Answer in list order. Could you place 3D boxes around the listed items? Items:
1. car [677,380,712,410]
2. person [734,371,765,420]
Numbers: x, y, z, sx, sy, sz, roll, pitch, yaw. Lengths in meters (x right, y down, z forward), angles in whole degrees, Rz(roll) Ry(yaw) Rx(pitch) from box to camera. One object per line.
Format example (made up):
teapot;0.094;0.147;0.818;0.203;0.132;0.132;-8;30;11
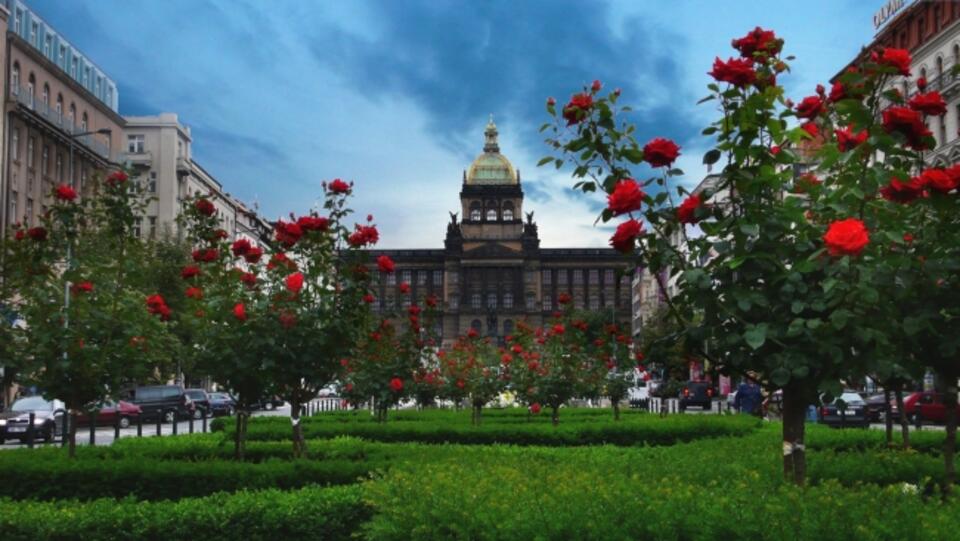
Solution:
car;11.980;7.098;67.091;2.181;1.636;3.541;0;-1;6
person;10.173;4.889;46.143;0.946;1.203;2.459;-3;-4;9
